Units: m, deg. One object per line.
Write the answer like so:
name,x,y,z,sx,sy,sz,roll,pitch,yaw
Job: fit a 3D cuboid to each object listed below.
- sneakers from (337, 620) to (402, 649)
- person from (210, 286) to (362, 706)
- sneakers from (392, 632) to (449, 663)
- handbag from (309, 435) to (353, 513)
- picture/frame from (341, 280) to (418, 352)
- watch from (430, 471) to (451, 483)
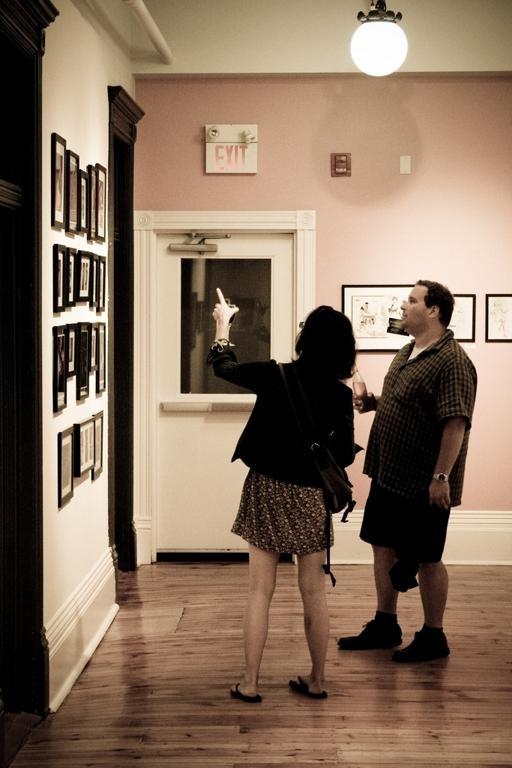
sneakers,0.473,1.014,3.081,0.268,0.179,0.118,-1,-4,0
person,0.090,0.415,2.458,0.470,1.361,0.252,1,2,9
sneakers,0.665,1.037,2.953,0.224,0.152,0.104,-1,-6,-11
handbag,0.265,0.341,2.434,0.083,0.117,0.245,-29,39,7
picture/frame,0.631,-0.357,3.731,0.330,0.401,0.015,0,6,2
watch,0.678,0.344,2.694,0.053,0.035,0.031,1,2,12
